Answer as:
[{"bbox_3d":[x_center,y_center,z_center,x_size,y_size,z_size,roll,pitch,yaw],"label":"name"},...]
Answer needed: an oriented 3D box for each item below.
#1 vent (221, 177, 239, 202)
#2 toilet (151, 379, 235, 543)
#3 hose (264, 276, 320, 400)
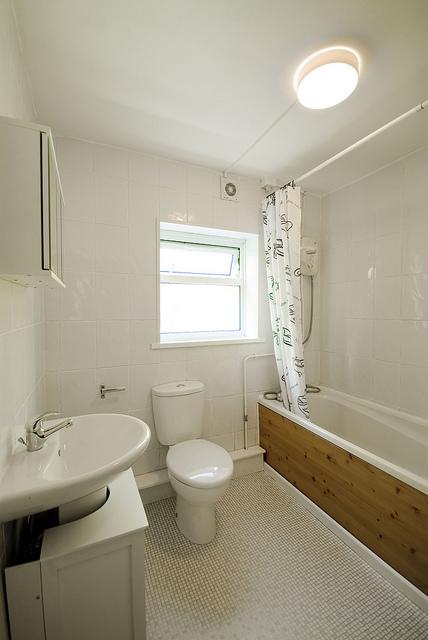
[{"bbox_3d":[0.102,-0.871,2.738,0.031,0.147,0.152,6,10,44],"label":"vent"},{"bbox_3d":[-0.130,0.750,2.279,0.401,0.659,0.781,-2,8,-10],"label":"toilet"},{"bbox_3d":[0.647,-0.032,3.174,0.299,1.191,0.220,1,6,-35],"label":"hose"}]
